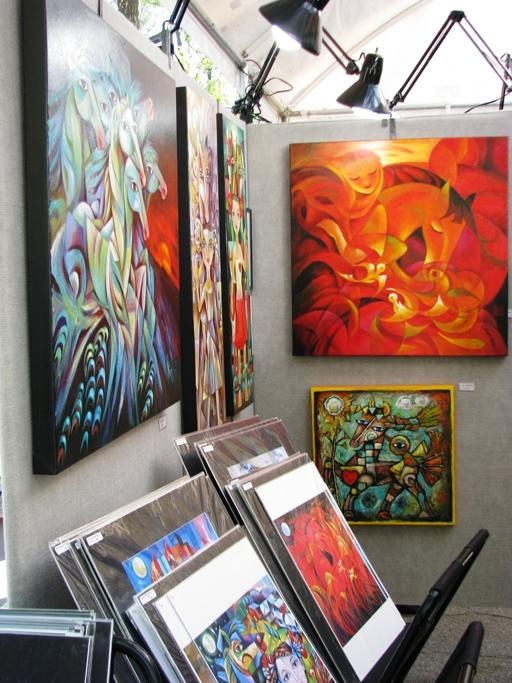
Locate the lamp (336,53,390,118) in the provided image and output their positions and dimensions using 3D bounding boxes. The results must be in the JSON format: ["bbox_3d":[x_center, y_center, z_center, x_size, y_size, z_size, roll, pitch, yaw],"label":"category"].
[{"bbox_3d":[0.646,-1.527,3.172,0.248,0.368,0.345,5,16,29],"label":"lamp"}]

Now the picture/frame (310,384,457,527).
[{"bbox_3d":[0.894,0.761,3.570,0.770,0.944,0.040,0,1,8],"label":"picture/frame"}]
